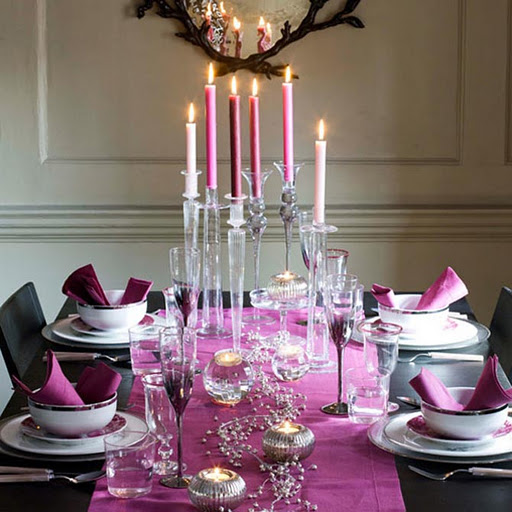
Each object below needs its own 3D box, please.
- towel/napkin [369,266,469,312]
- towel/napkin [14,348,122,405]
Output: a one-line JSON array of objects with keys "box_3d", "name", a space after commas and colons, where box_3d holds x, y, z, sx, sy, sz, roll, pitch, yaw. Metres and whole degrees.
[{"box_3d": [0.449, 0.071, 1.305, 0.133, 0.103, 0.172, -2, 11, 14], "name": "towel/napkin"}, {"box_3d": [-0.279, 0.201, 0.779, 0.093, 0.055, 0.113, 0, 11, 4], "name": "towel/napkin"}]
